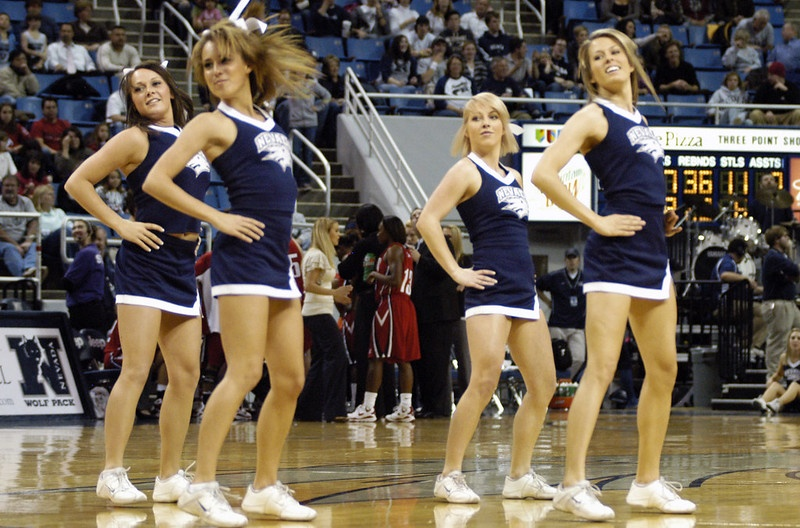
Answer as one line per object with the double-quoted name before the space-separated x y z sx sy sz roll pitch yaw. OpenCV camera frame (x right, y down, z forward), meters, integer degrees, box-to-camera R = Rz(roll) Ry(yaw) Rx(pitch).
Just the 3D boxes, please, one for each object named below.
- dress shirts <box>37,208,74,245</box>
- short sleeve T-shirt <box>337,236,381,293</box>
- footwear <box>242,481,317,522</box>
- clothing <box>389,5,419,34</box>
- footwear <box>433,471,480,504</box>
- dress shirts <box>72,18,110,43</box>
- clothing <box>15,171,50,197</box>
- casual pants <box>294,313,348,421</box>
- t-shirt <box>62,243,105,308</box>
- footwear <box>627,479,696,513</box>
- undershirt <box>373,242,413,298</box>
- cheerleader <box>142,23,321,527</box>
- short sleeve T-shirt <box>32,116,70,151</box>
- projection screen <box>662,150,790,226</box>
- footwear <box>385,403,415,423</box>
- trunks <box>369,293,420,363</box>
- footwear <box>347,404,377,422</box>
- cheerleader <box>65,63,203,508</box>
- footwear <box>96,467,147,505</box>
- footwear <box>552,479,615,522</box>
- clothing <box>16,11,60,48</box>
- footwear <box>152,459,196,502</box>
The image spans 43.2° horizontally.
"dress shirts" -4.756 -0.477 13.869 0.469 0.478 0.253 -2 -8 -42
"short sleeve T-shirt" -0.470 0.002 11.883 0.520 0.659 0.233 -10 42 -47
"footwear" -0.770 1.516 6.455 0.511 0.237 0.198 4 -12 15
"clothing" 0.070 -4.758 19.866 0.630 0.753 0.400 3 -17 -16
"footwear" 0.396 1.509 6.789 0.342 0.166 0.147 -5 -8 43
"dress shirts" -5.664 -4.064 18.332 0.663 0.568 0.368 -2 -10 -19
"clothing" -5.437 -1.138 14.800 0.307 0.181 0.448 2 -5 1
"casual pants" -0.916 1.072 11.673 0.644 1.440 0.399 -1 -1 32
"t-shirt" -3.894 0.213 12.480 0.442 0.789 0.691 3 -8 -10
"footwear" 1.726 1.528 6.631 0.214 0.233 0.512 11 -9 -40
"undershirt" -0.091 0.147 11.766 0.405 0.764 0.518 5 5 16
"cheerleader" -0.988 0.017 6.413 0.956 3.183 0.629 -1 3 -6
"short sleeve T-shirt" -5.461 -2.015 16.038 0.532 0.549 0.324 -4 21 -21
"projection screen" 5.682 -1.378 18.097 1.909 1.415 1.205 2 3 3
"footwear" 0.016 1.797 11.968 0.400 0.298 0.163 1 -10 17
"trunks" -0.071 0.769 11.686 0.583 0.839 0.360 -2 3 -11
"footwear" -0.432 1.777 11.913 0.347 0.198 0.154 4 -5 7
"cheerleader" -1.589 0.090 7.073 1.165 3.104 0.793 6 -12 -44
"footwear" -1.869 1.478 6.687 0.376 0.230 0.158 -1 3 11
"footwear" 1.172 1.509 6.445 0.370 0.221 0.208 -1 3 8
"clothing" -6.362 -4.185 18.253 0.509 0.520 0.299 11 21 16
"footwear" -1.434 1.481 6.815 0.454 0.208 0.170 -10 -5 10
